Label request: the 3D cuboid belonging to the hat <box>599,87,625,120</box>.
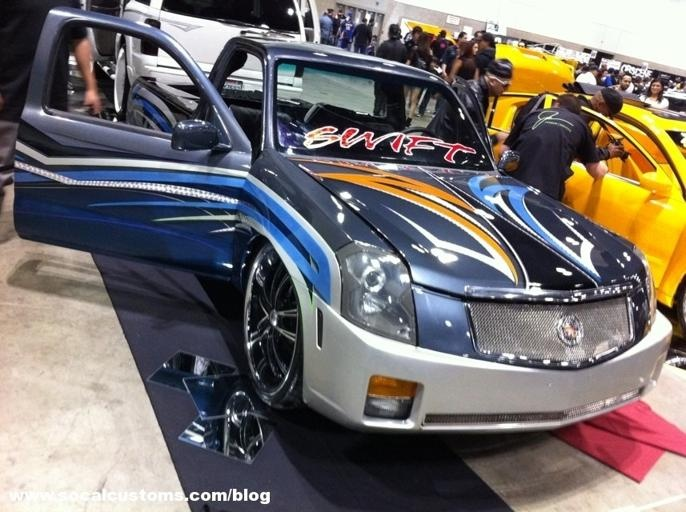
[{"bbox_3d":[2.662,-1.519,4.839,0.188,0.286,0.211,-8,20,-34],"label":"hat"}]
